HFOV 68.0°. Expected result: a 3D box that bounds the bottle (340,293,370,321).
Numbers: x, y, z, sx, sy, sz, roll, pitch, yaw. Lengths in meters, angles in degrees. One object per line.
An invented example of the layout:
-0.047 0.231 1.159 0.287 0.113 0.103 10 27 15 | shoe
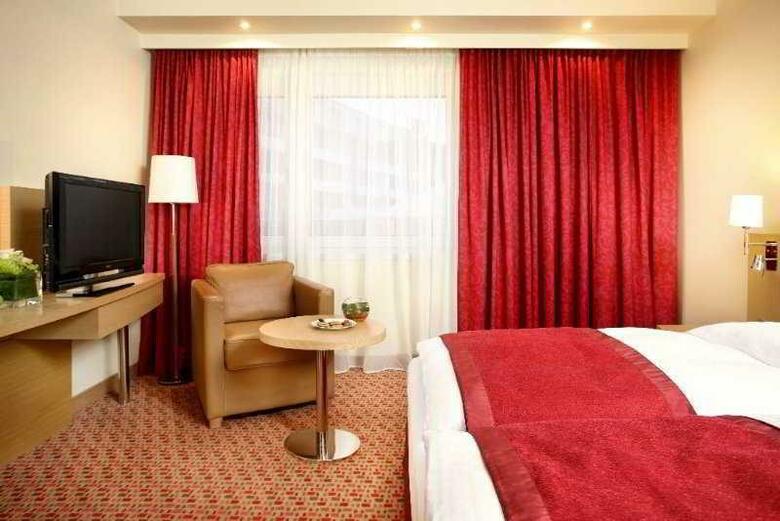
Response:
-0.263 0.349 4.458 0.190 0.169 0.190 2 6 -3 | bottle

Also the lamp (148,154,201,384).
-1.961 0.054 5.377 0.408 2.062 0.444 -3 8 -18 | lamp

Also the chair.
-1.138 0.633 5.026 1.193 1.101 1.269 4 5 44 | chair
